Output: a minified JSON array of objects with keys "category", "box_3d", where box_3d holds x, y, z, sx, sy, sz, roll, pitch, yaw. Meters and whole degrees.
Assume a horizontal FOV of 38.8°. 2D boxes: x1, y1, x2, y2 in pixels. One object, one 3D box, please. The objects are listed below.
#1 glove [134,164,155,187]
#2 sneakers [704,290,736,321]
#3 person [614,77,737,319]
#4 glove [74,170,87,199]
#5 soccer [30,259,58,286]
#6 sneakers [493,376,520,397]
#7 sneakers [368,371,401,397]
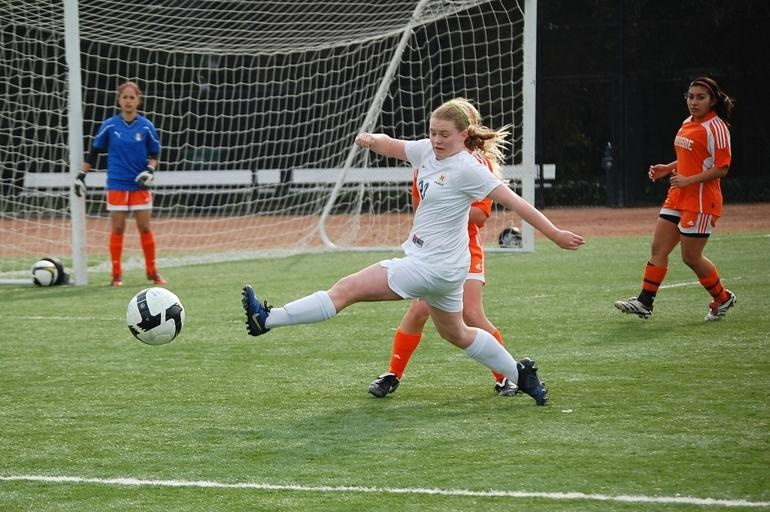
[{"category":"glove","box_3d":[-2.985,-0.978,13.832,0.232,0.269,0.135,29,-10,23]},{"category":"sneakers","box_3d":[3.620,0.541,11.795,0.289,0.325,0.126,2,7,14]},{"category":"person","box_3d":[3.284,-0.602,11.796,0.985,2.572,0.526,1,7,11]},{"category":"glove","box_3d":[-3.846,-0.897,13.820,0.132,0.321,0.171,-1,7,-10]},{"category":"soccer","box_3d":[-4.378,0.230,14.085,0.314,0.350,0.184,3,7,23]},{"category":"sneakers","box_3d":[1.147,1.249,10.264,0.117,0.109,0.255,6,-10,-31]},{"category":"sneakers","box_3d":[0.010,1.210,10.330,0.386,0.127,0.163,-25,20,-22]}]
